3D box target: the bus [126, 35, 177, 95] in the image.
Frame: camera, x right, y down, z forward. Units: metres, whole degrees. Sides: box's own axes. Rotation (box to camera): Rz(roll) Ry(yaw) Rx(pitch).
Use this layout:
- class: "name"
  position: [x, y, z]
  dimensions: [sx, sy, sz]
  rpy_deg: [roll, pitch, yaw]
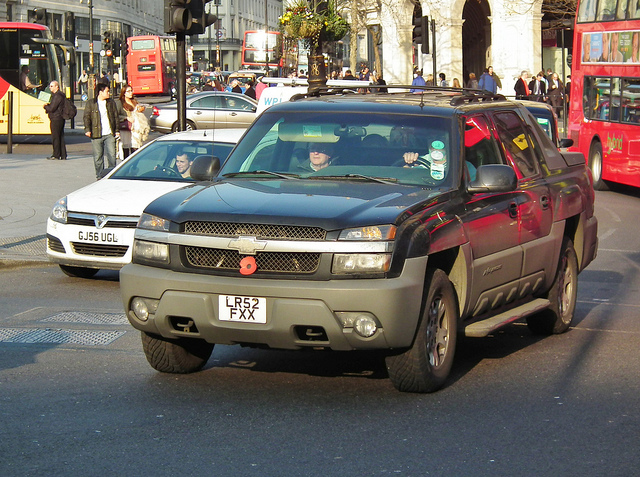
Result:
- class: "bus"
  position: [-16.451, -17.897, 70.025]
  dimensions: [3.728, 6.093, 11.947]
  rpy_deg: [0, 14, 5]

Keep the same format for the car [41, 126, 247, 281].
- class: "car"
  position: [-2.503, -0.647, 10.837]
  dimensions: [1.804, 1.838, 3.900]
  rpy_deg: [2, 4, 25]

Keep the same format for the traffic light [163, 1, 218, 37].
- class: "traffic light"
  position: [-2.527, -4.123, 12.626]
  dimensions: [0.549, 0.800, 1.042]
  rpy_deg: [3, 5, 33]

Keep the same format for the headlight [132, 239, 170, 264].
- class: "headlight"
  position: [-1.230, 0.102, 4.747]
  dimensions: [0.440, 0.150, 0.031]
  rpy_deg: [4, 5, 40]

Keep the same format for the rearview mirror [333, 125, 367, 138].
- class: "rearview mirror"
  position: [0.251, -0.877, 5.530]
  dimensions: [0.175, 0.075, 0.131]
  rpy_deg: [3, 3, 42]

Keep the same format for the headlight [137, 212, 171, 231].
- class: "headlight"
  position: [-1.211, -0.113, 4.779]
  dimensions: [0.108, 0.120, 0.389]
  rpy_deg: [-2, 5, -36]

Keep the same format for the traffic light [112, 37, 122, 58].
- class: "traffic light"
  position: [-13.221, -12.209, 42.930]
  dimensions: [0.596, 1.416, 1.959]
  rpy_deg: [-1, 4, -16]

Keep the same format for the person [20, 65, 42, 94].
- class: "person"
  position: [-14.024, -7.460, 31.608]
  dimensions: [0.878, 1.384, 0.538]
  rpy_deg: [2, 4, 24]

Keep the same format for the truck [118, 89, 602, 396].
- class: "truck"
  position: [0.660, -0.077, 5.854]
  dimensions: [2.258, 1.850, 3.891]
  rpy_deg: [1, 3, 27]

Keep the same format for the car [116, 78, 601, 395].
- class: "car"
  position: [0.726, -0.300, 5.925]
  dimensions: [2.325, 1.932, 4.035]
  rpy_deg: [1, 3, 26]

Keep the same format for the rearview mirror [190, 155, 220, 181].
- class: "rearview mirror"
  position: [-1.015, -0.597, 5.776]
  dimensions: [0.269, 0.216, 0.266]
  rpy_deg: [1, 4, 11]

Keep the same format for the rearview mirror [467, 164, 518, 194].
- class: "rearview mirror"
  position: [1.395, -0.460, 5.242]
  dimensions: [0.319, 0.169, 0.218]
  rpy_deg: [-2, 8, 7]
